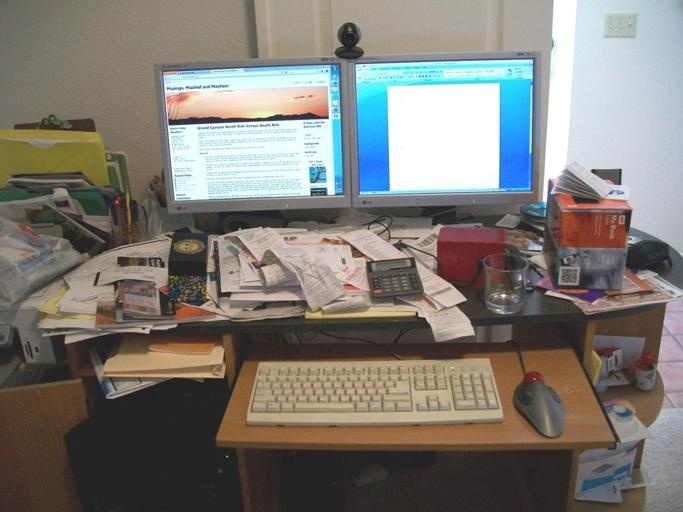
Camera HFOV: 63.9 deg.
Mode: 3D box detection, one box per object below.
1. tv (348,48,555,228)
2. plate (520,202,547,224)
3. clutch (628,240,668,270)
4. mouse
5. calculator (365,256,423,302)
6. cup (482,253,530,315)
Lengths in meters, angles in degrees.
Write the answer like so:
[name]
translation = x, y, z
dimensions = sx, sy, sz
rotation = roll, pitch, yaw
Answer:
[tv]
translation = 0.354, -0.406, 1.843
dimensions = 0.707, 0.496, 0.050
rotation = -1, 9, 0
[plate]
translation = 0.687, -0.144, 1.973
dimensions = 0.089, 0.025, 0.089
rotation = 13, 29, 30
[clutch]
translation = 0.939, -0.004, 1.677
dimensions = 0.096, 0.048, 0.109
rotation = 4, 19, 14
[mouse]
translation = 0.539, 0.384, 1.486
dimensions = 0.143, 0.062, 0.205
rotation = -2, 35, 1
[calculator]
translation = 0.153, 0.067, 1.611
dimensions = 0.152, 0.041, 0.137
rotation = -3, 46, 1
[cup]
translation = 0.455, 0.079, 1.593
dimensions = 0.154, 0.176, 0.120
rotation = 6, 27, -6
